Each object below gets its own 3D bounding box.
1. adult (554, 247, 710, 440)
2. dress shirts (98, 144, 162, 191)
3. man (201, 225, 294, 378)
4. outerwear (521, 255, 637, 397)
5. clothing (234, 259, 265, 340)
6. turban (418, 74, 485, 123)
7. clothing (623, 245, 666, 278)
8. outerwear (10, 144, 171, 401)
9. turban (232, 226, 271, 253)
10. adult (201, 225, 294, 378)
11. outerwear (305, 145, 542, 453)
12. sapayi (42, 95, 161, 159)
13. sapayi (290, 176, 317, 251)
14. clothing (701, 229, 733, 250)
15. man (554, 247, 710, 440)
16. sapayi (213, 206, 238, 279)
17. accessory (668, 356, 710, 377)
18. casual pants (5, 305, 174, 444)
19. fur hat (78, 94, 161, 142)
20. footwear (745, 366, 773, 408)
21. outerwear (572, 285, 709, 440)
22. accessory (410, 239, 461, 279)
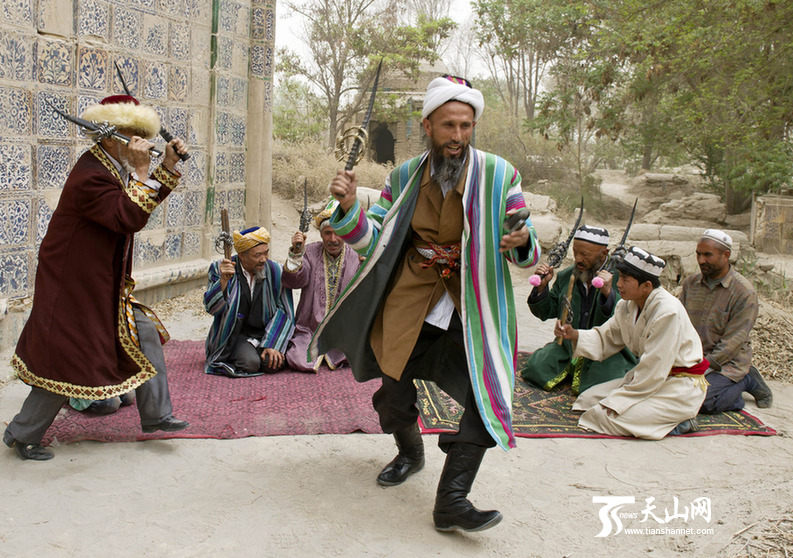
[{"bbox_3d":[2.186,0.544,6.365,1.156,1.616,0.667,7,16,15],"label":"adult"},{"bbox_3d":[-1.930,-0.814,5.384,0.399,0.348,0.111,32,32,-5],"label":"dress shirts"},{"bbox_3d":[-1.536,0.218,7.390,0.991,1.437,0.892,-2,14,-30],"label":"man"},{"bbox_3d":[1.859,0.412,7.417,1.288,1.449,1.170,2,6,43],"label":"outerwear"},{"bbox_3d":[-1.485,0.251,7.411,0.491,0.670,0.236,-3,12,-5],"label":"clothing"},{"bbox_3d":[0.360,-1.194,4.829,0.294,0.223,0.341,2,-1,4],"label":"turban"},{"bbox_3d":[2.165,-0.127,6.351,0.333,0.194,0.244,33,6,1],"label":"clothing"},{"bbox_3d":[-2.213,-0.058,5.247,1.067,1.787,0.536,-5,17,-26],"label":"outerwear"},{"bbox_3d":[-1.466,-0.397,7.223,0.258,0.157,0.296,-9,0,-20],"label":"turban"},{"bbox_3d":[-1.524,0.242,7.366,0.972,1.405,0.937,-6,17,-42],"label":"adult"},{"bbox_3d":[0.184,0.053,5.040,1.456,1.909,1.326,4,10,16],"label":"outerwear"},{"bbox_3d":[-2.093,-1.052,5.133,0.828,0.169,0.162,23,41,4],"label":"sapayi"},{"bbox_3d":[-0.958,-0.703,7.579,0.191,0.751,0.074,11,32,6],"label":"sapayi"},{"bbox_3d":[3.163,-0.392,7.112,0.363,0.174,0.225,-6,17,-29],"label":"clothing"},{"bbox_3d":[2.233,0.620,6.808,1.171,1.613,1.192,2,0,-27],"label":"man"},{"bbox_3d":[-1.941,-0.408,8.134,0.252,1.446,0.166,39,59,16],"label":"sapayi"},{"bbox_3d":[2.602,0.783,6.465,0.234,0.101,0.193,-11,-9,41],"label":"accessory"},{"bbox_3d":[-2.283,0.715,5.739,1.030,1.249,1.044,-1,-4,31],"label":"casual pants"},{"bbox_3d":[-1.975,-1.135,5.235,0.425,0.219,0.344,19,-6,-7],"label":"fur hat"},{"bbox_3d":[3.653,1.111,7.311,0.163,0.135,0.386,-18,70,-43],"label":"footwear"},{"bbox_3d":[2.168,0.757,6.972,1.359,1.436,1.146,0,4,-10],"label":"outerwear"},{"bbox_3d":[0.270,-0.136,4.912,0.125,0.251,0.254,-36,8,-39],"label":"accessory"}]
